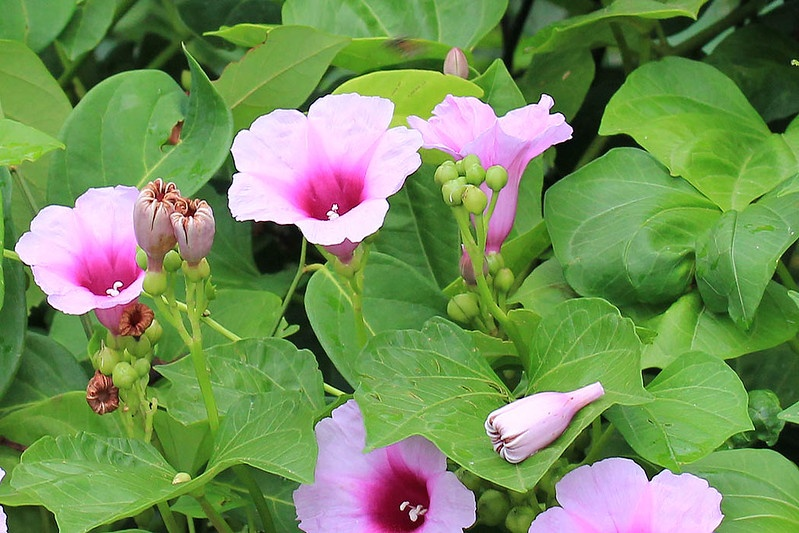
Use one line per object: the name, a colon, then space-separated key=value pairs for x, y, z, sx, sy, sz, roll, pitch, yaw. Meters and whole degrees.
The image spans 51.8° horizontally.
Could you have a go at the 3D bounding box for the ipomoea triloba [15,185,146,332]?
ipomoea triloba: x=-0.416 y=-0.017 z=1.181 sx=0.192 sy=0.148 sz=0.207 roll=-5 pitch=62 yaw=2

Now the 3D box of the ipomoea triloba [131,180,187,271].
ipomoea triloba: x=-0.317 y=-0.037 z=1.078 sx=0.051 sy=0.128 sz=0.051 roll=-3 pitch=25 yaw=-28

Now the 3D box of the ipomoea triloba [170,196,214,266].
ipomoea triloba: x=-0.271 y=-0.034 z=1.080 sx=0.053 sy=0.106 sz=0.054 roll=0 pitch=37 yaw=-9

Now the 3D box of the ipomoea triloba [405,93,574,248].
ipomoea triloba: x=0.152 y=-0.124 z=1.236 sx=0.218 sy=0.235 sz=0.219 roll=3 pitch=1 yaw=-44

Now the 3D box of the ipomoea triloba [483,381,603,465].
ipomoea triloba: x=0.196 y=0.195 z=1.107 sx=0.152 sy=0.064 sz=0.080 roll=-29 pitch=49 yaw=-9
